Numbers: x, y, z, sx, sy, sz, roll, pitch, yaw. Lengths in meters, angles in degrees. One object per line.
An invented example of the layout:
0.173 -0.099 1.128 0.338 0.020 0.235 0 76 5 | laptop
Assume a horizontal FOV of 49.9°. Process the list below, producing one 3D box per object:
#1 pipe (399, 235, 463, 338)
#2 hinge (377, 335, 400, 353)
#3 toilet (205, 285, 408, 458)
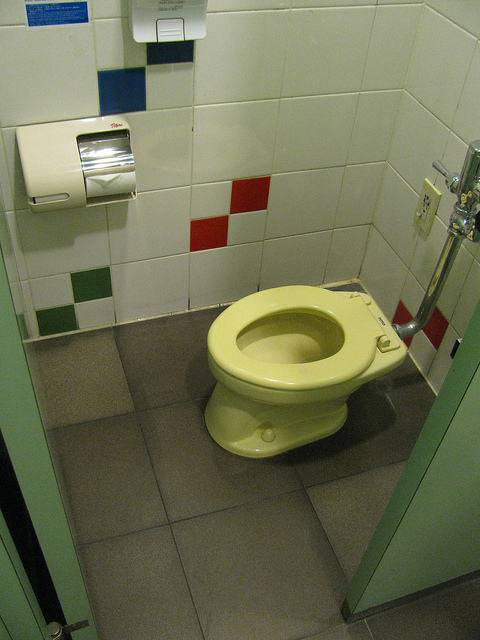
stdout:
0.545 -0.097 1.496 0.083 0.403 0.196 19 36 19 | pipe
0.419 0.068 1.461 0.053 0.020 0.042 -7 72 1 | hinge
0.146 0.127 1.623 0.599 0.427 0.450 -11 53 -9 | toilet
